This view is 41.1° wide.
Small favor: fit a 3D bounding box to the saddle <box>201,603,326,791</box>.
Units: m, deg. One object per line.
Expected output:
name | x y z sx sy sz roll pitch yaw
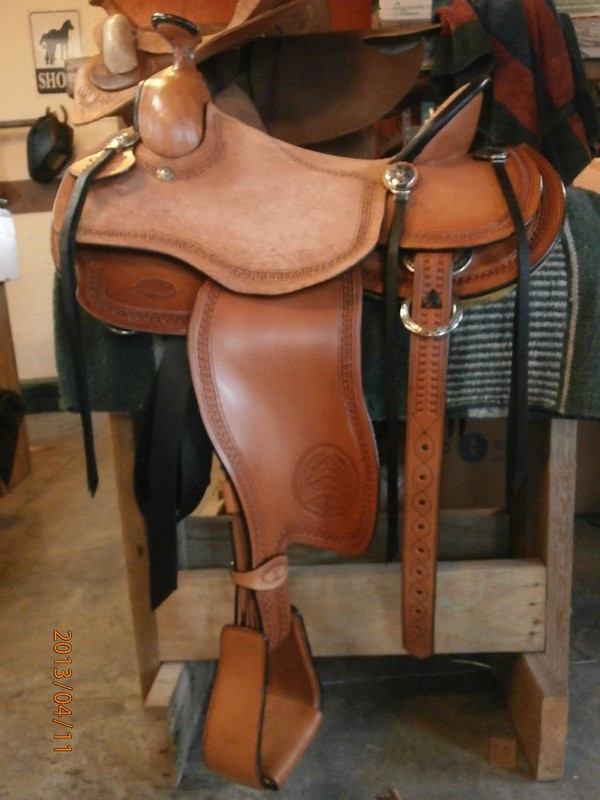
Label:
saddle | -0.049 0.385 1.064 0.117 0.200 0.220 4 8 21
